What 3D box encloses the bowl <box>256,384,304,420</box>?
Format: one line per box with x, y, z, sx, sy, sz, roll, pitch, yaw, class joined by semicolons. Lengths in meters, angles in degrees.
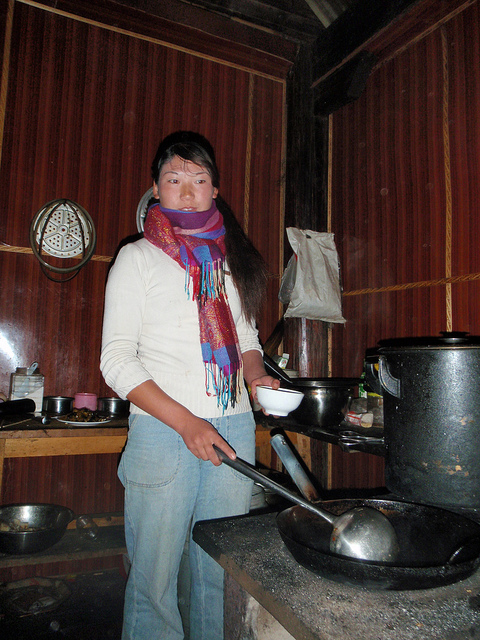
0.100;0.222;1.424;0.093;0.064;0.094;6;-20;2;bowl

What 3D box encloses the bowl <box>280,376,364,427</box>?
0.333;0.316;2.078;0.255;0.153;0.268;0;-19;0;bowl

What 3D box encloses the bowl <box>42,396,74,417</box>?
-0.823;0.380;2.377;0.086;0.056;0.090;0;-7;0;bowl

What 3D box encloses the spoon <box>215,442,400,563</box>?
0.104;0.376;1.097;0.132;0.125;0.438;-3;17;-37;spoon

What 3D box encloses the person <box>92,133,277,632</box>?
-0.112;0.111;1.412;0.404;1.137;0.638;-2;14;7;person

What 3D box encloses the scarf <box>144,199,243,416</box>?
-0.148;-0.086;1.464;0.197;0.681;0.078;7;-26;-44;scarf

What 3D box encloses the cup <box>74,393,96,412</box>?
-0.719;0.376;2.470;0.090;0.071;0.074;-1;1;-14;cup
